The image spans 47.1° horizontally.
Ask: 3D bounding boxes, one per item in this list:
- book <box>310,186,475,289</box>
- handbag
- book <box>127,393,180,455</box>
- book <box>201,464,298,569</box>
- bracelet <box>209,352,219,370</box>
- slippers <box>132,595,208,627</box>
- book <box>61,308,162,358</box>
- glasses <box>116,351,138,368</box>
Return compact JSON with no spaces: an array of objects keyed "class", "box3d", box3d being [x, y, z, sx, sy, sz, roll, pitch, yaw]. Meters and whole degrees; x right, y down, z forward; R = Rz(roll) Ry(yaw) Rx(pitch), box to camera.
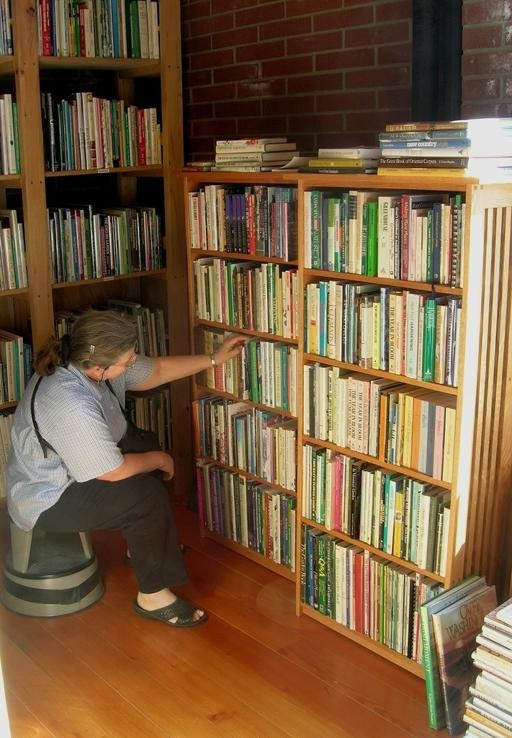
[{"class":"book","box3d":[0.367,-0.371,1.612,0.149,0.263,0.571,-9,14,-34]},{"class":"handbag","box3d":[-0.607,0.228,2.205,0.378,0.381,0.229,-23,18,-37]},{"class":"book","box3d":[-0.491,0.243,2.781,0.220,0.295,0.218,-15,23,-30]},{"class":"book","box3d":[-0.013,0.584,2.344,0.177,0.244,0.420,-13,22,-43]},{"class":"bracelet","box3d":[-0.168,-0.036,2.319,0.016,0.048,0.037,-4,5,-34]},{"class":"slippers","box3d":[-0.305,0.810,2.036,0.202,0.061,0.090,7,20,19]},{"class":"book","box3d":[-0.556,-0.145,2.203,0.174,0.179,0.251,-20,-1,-35]},{"class":"glasses","box3d":[-0.438,-0.032,1.959,0.055,0.016,0.052,9,21,18]}]
